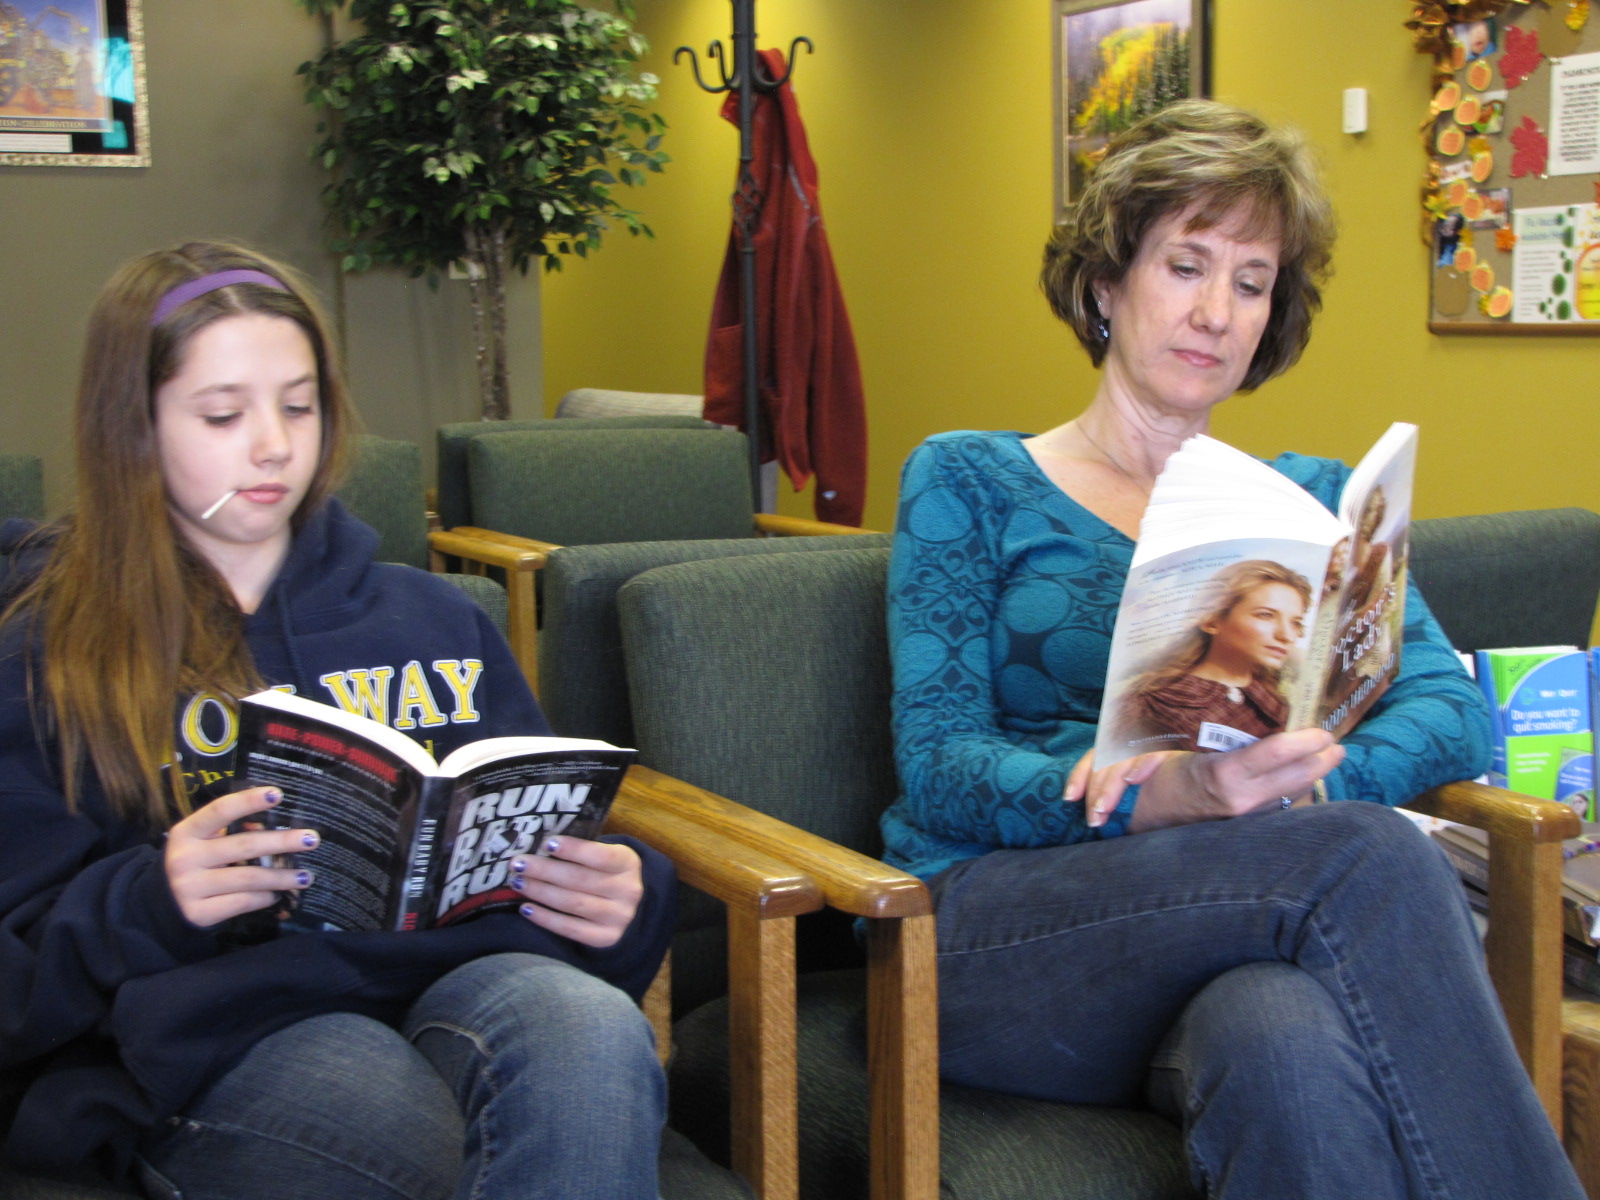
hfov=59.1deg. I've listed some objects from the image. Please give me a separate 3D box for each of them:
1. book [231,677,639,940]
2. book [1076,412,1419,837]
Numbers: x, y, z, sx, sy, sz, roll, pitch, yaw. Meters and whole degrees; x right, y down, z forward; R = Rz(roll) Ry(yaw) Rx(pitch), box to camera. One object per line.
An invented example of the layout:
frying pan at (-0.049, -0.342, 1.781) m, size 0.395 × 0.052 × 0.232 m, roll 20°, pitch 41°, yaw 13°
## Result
book at (-0.318, 0.194, 1.131) m, size 0.330 × 0.204 × 0.095 m, roll 7°, pitch 45°, yaw -25°
book at (0.347, 0.008, 1.341) m, size 0.303 × 0.383 × 0.158 m, roll -2°, pitch 28°, yaw -28°
